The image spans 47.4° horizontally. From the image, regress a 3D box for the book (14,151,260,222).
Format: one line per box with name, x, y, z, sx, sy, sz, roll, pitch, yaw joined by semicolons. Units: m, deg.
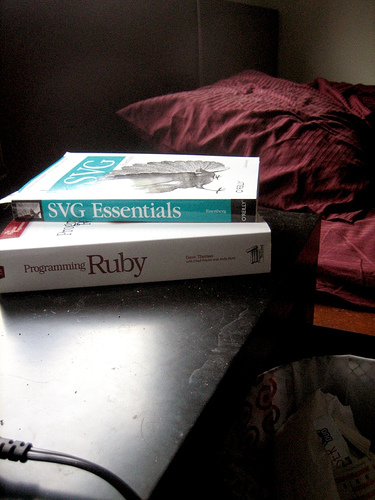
book;-0.047;-0.066;0.461;0.180;0.023;0.123;0;27;1
